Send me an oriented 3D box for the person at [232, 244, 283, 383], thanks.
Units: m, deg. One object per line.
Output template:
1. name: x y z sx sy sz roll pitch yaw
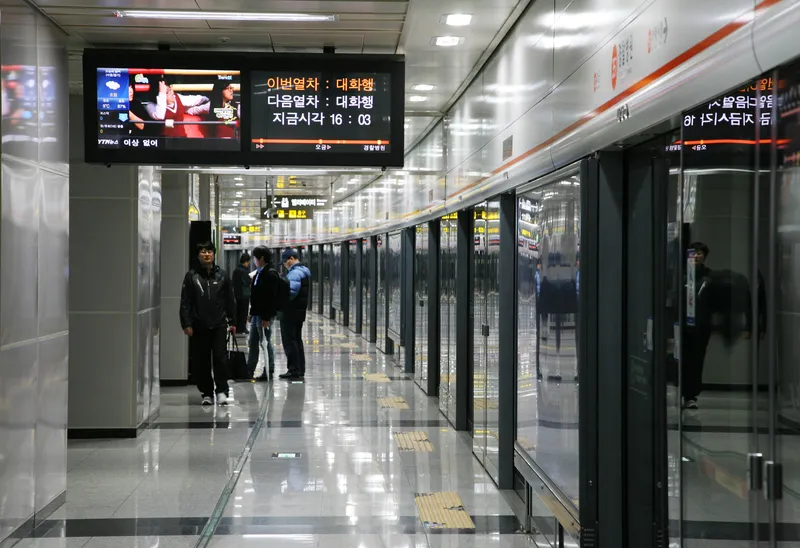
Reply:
1. person: -1.561 0.450 7.836 0.307 1.486 0.757 -3 5 -34

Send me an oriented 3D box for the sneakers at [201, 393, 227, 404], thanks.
1. sneakers: -2.332 1.588 8.770 0.217 0.086 0.217 2 -5 -15

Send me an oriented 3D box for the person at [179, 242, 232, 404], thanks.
1. person: -2.422 0.649 8.732 0.916 2.022 0.361 4 6 45

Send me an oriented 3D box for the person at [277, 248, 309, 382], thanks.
1. person: -1.170 0.462 7.564 0.236 1.445 0.367 -4 6 -39

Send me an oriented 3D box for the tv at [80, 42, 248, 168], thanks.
1. tv: -1.701 -1.205 4.996 0.919 0.633 0.125 0 -5 -2

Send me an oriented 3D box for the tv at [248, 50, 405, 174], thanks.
1. tv: -0.560 -1.198 5.073 0.884 0.583 0.087 0 3 -2

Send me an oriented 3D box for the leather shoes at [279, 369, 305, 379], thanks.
1. leather shoes: -1.187 1.118 7.677 0.244 0.122 0.162 -1 1 13
